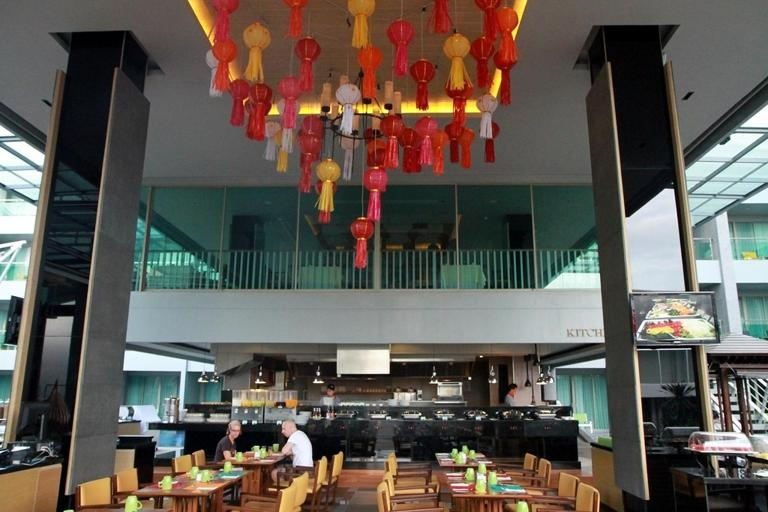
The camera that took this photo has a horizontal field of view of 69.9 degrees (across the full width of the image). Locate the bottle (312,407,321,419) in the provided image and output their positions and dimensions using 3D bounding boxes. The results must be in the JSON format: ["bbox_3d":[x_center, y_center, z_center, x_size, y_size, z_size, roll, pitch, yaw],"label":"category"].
[{"bbox_3d":[-1.422,3.339,11.643,0.158,0.205,0.144,-1,-13,0],"label":"bottle"}]

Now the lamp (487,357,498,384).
[{"bbox_3d":[3.155,3.313,15.874,0.231,0.693,1.214,-4,-15,11],"label":"lamp"}]

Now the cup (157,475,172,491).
[{"bbox_3d":[-2.629,2.740,6.589,0.178,0.177,0.178,2,-3,0],"label":"cup"}]

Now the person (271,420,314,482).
[{"bbox_3d":[-1.420,3.037,8.508,0.625,0.949,0.953,2,-16,-10],"label":"person"}]
